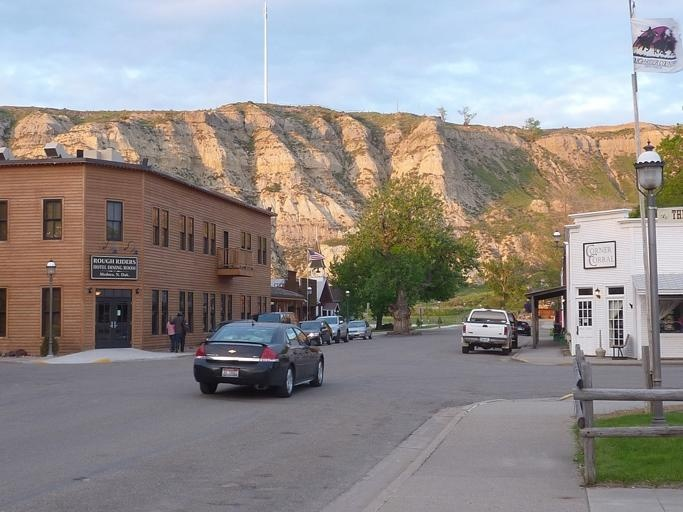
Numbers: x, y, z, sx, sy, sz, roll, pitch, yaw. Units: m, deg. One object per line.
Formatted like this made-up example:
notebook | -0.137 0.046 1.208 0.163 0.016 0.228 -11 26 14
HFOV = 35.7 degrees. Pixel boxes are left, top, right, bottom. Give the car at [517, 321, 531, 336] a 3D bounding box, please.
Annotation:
car | 13.427 5.317 78.247 0.872 0.654 1.924 0 5 12

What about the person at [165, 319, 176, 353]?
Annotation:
person | -7.676 3.557 47.952 0.354 1.490 0.807 -1 -5 -11

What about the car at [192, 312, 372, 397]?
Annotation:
car | -2.092 2.723 28.347 2.046 2.050 3.430 -6 -7 34

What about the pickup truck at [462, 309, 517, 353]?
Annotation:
pickup truck | 6.466 3.341 47.393 2.145 2.073 3.371 -3 -6 6
